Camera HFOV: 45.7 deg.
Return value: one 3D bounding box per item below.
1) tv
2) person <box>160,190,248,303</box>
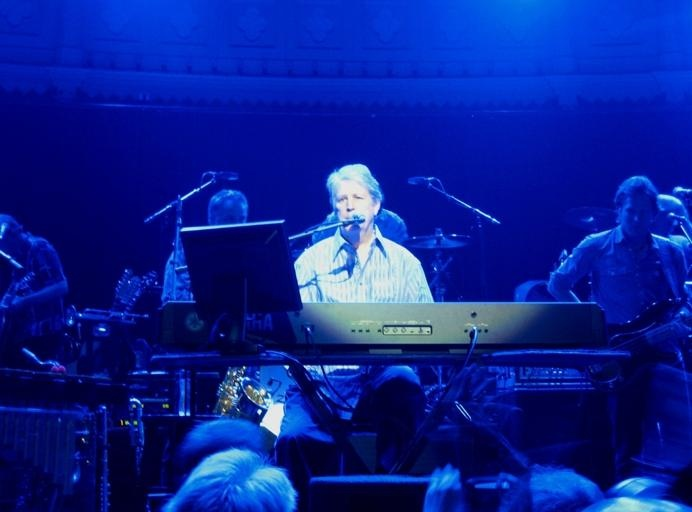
[{"bbox_3d":[-0.558,0.109,4.344,0.594,0.533,0.169,-6,-13,10],"label":"tv"},{"bbox_3d":[-1.200,-0.123,6.960,0.621,1.238,0.663,-1,4,-14],"label":"person"}]
